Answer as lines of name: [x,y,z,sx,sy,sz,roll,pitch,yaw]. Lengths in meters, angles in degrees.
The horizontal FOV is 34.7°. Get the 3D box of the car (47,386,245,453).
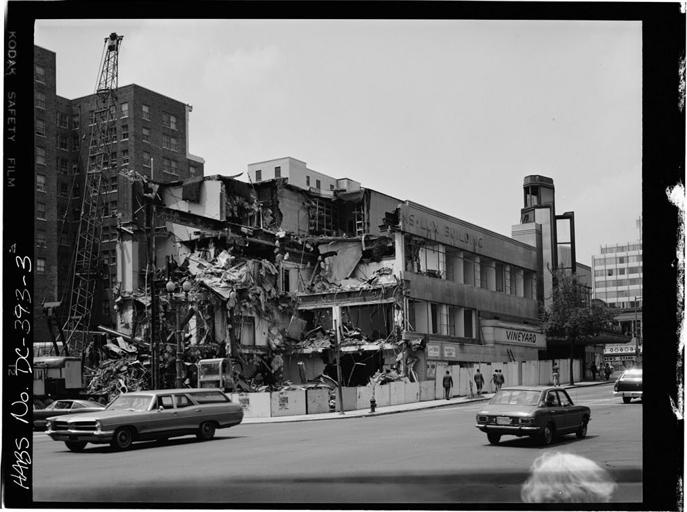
car: [-6.560,5.504,37.155,1.914,2.051,6.111,-4,-7,38]

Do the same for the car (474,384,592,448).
car: [6.147,5.150,35.605,1.700,1.746,4.629,-4,-6,40]
